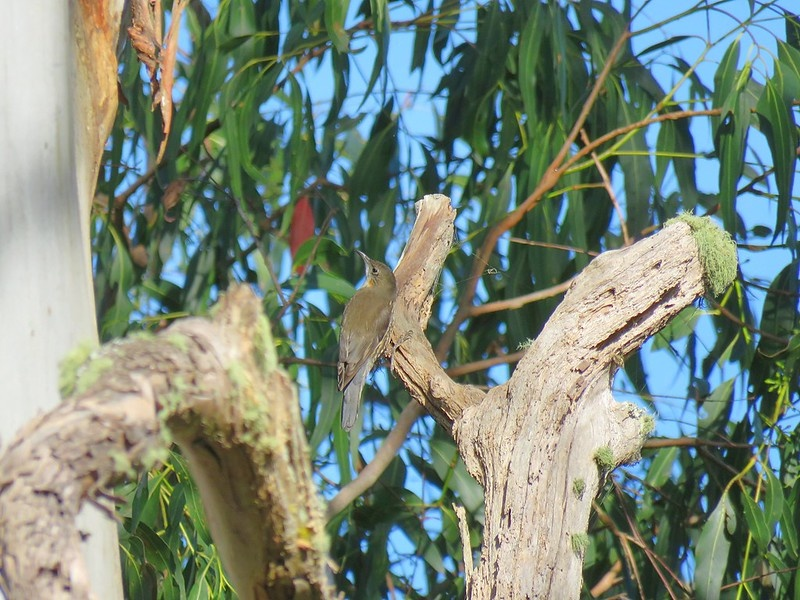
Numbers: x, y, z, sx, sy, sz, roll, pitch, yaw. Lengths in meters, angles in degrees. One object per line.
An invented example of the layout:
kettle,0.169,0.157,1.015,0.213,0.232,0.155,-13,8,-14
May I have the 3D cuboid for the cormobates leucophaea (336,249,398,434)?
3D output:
cormobates leucophaea,-0.133,0.138,9.361,0.177,0.827,0.299,-2,-21,32
